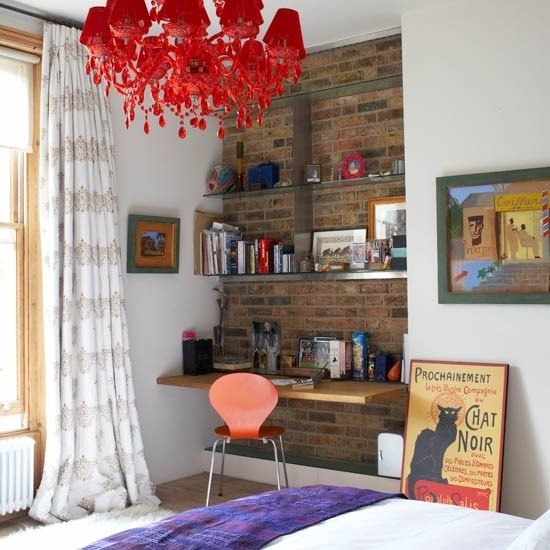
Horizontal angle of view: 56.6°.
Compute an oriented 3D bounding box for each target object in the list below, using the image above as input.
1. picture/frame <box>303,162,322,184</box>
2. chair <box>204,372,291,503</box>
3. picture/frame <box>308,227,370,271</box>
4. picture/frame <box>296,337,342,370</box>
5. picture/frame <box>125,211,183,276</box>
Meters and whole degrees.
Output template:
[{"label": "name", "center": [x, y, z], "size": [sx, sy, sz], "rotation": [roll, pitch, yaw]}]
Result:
[{"label": "picture/frame", "center": [0.282, -0.775, 3.909], "size": [0.204, 0.225, 0.037], "rotation": [0, -13, 1]}, {"label": "chair", "center": [-0.163, 1.060, 3.313], "size": [0.485, 0.822, 0.472], "rotation": [-1, -11, 4]}, {"label": "picture/frame", "center": [0.493, -0.188, 3.814], "size": [0.351, 0.242, 0.029], "rotation": [-1, -5, 37]}, {"label": "picture/frame", "center": [0.298, 0.597, 3.884], "size": [0.337, 0.218, 0.081], "rotation": [-2, -5, 39]}, {"label": "picture/frame", "center": [-0.908, -0.232, 3.839], "size": [0.027, 0.407, 0.458], "rotation": [5, 4, 38]}]
